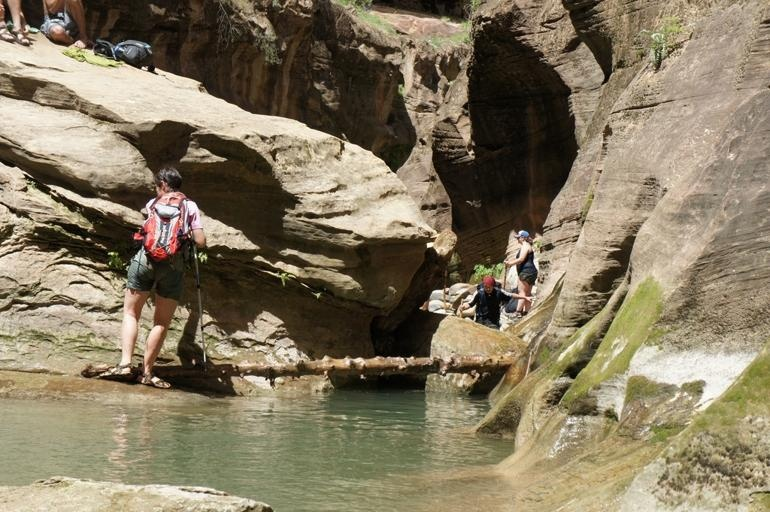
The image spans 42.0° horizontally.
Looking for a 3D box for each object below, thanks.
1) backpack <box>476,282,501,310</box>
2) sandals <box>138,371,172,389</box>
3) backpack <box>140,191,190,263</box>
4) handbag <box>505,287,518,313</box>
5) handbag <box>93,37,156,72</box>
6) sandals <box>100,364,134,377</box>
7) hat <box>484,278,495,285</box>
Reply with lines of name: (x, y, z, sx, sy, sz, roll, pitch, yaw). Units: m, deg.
backpack: (1.461, 0.588, 14.369, 0.364, 0.426, 0.253, 5, 25, 9)
sandals: (-2.549, 1.388, 11.133, 0.284, 0.083, 0.170, 9, 9, -25)
backpack: (-2.344, -0.311, 10.743, 0.617, 0.672, 0.303, 8, -6, -4)
handbag: (2.059, 0.758, 16.594, 0.206, 0.260, 0.418, -29, 15, 19)
handbag: (-3.335, -2.652, 12.956, 0.645, 0.247, 0.468, 23, 3, -23)
sandals: (-2.924, 1.270, 10.964, 0.316, 0.101, 0.166, 1, -6, 4)
hat: (1.432, 0.355, 14.013, 0.116, 0.114, 0.126, 1, 9, 0)
